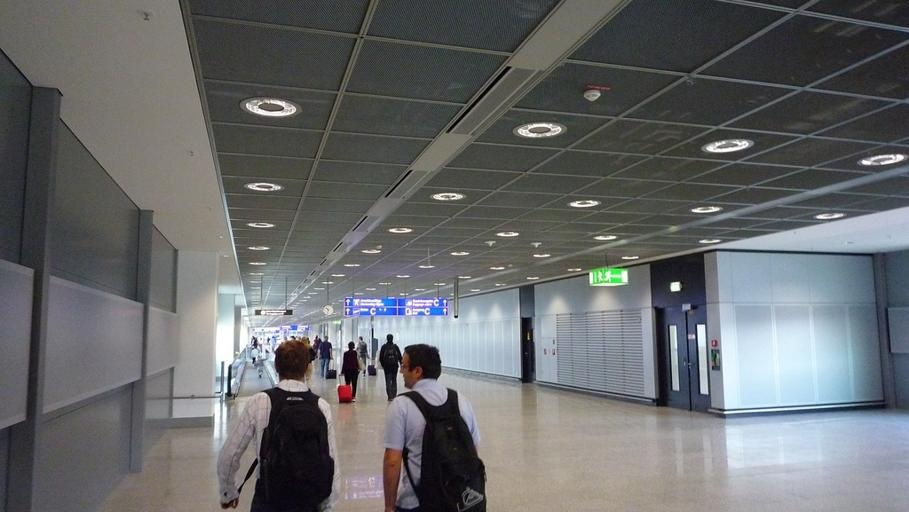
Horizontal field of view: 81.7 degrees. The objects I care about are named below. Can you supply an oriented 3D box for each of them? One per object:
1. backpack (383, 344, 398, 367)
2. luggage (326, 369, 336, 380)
[{"bbox_3d":[-2.097,3.259,17.173,0.714,0.770,0.443,3,-36,-6],"label":"backpack"},{"bbox_3d":[-5.773,5.531,24.697,0.581,0.437,0.266,2,-17,-4],"label":"luggage"}]
